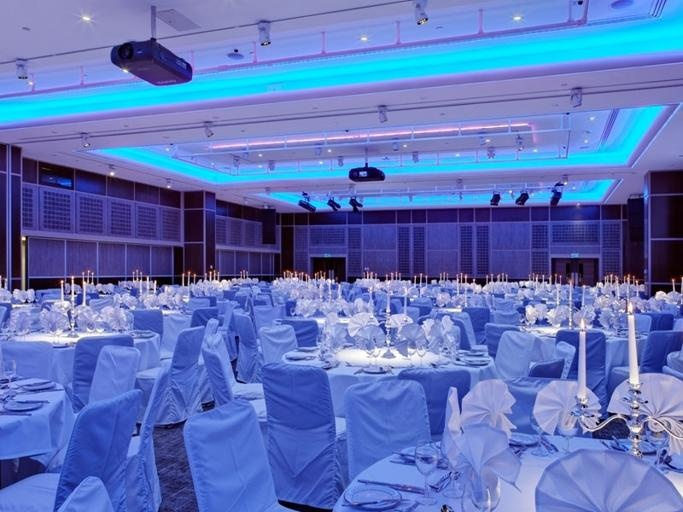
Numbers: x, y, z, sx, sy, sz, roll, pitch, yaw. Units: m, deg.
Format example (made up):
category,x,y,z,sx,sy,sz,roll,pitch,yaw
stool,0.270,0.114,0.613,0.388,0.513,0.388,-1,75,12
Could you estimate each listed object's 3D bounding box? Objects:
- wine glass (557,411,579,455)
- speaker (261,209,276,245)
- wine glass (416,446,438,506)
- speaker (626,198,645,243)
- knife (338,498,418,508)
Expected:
category,x,y,z,sx,sy,sz,roll,pitch,yaw
wine glass,1.377,1.053,3.544,0.094,0.277,0.435,-1,-5,22
speaker,-2.501,-1.029,20.098,0.389,1.210,0.472,1,-3,-15
wine glass,0.469,1.178,3.207,0.107,0.315,0.342,0,-5,10
speaker,8.575,-1.039,17.017,0.368,1.144,0.602,-2,-4,32
knife,0.202,1.338,3.126,0.422,0.049,0.094,0,-5,0
